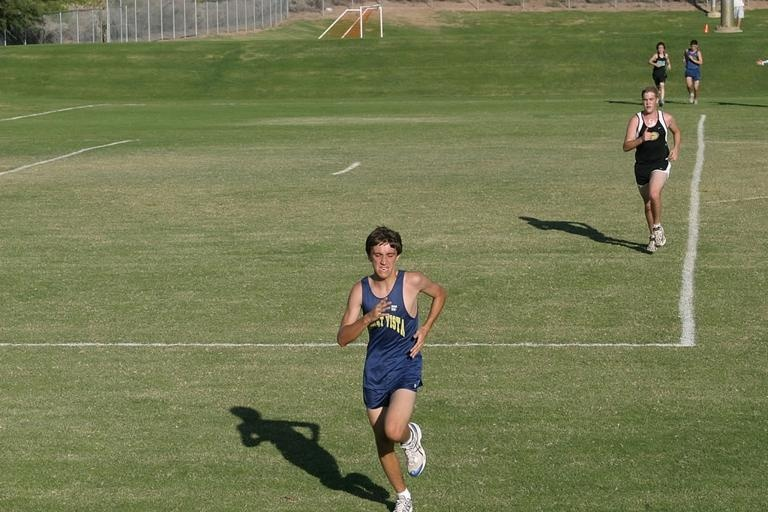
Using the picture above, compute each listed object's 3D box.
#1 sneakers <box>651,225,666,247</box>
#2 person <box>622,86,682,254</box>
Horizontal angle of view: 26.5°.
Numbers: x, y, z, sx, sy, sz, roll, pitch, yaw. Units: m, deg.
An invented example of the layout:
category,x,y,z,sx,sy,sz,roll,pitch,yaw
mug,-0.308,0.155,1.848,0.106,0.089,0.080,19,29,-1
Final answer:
category,x,y,z,sx,sy,sz,roll,pitch,yaw
sneakers,6.107,-0.463,36.423,0.258,0.525,0.287,-4,6,24
person,6.068,-1.954,36.419,1.064,3.691,1.139,-3,12,18
